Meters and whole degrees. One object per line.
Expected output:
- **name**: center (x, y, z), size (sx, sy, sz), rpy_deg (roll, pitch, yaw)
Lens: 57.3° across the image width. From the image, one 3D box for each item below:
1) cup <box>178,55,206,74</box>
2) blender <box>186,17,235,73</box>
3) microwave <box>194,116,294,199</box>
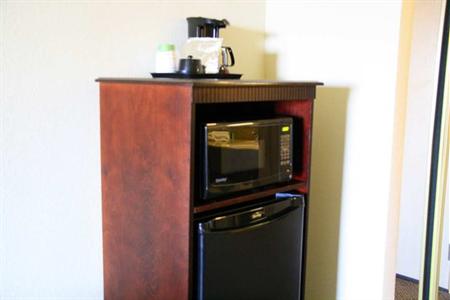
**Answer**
- **cup**: center (-0.160, -0.439, 2.130), size (0.102, 0.063, 0.100), rpy_deg (1, 11, 0)
- **blender**: center (-0.083, -0.614, 2.445), size (0.265, 0.326, 0.377), rpy_deg (0, 8, 4)
- **microwave**: center (0.086, 0.019, 2.104), size (0.654, 0.424, 0.344), rpy_deg (-9, 13, -40)
